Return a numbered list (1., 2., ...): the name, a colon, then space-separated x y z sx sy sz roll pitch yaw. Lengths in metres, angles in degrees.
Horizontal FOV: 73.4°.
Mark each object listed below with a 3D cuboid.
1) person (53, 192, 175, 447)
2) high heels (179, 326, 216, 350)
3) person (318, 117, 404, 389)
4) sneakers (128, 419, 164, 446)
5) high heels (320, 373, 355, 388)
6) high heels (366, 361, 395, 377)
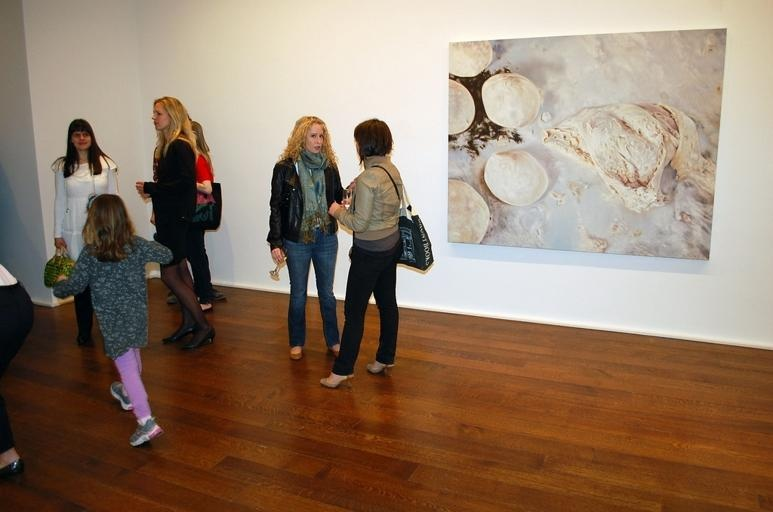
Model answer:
1. person: -1.915 0.453 3.682 0.612 1.706 0.535 0 15 -1
2. high heels: -1.852 0.796 4.955 0.138 0.192 0.416 -9 5 38
3. person: -0.171 0.019 4.133 0.687 2.120 0.364 -4 16 -17
4. sneakers: -1.706 1.257 3.700 0.289 0.161 0.124 -31 17 35
5. high heels: -0.401 1.017 4.284 0.247 0.120 0.122 1 5 -8
6. high heels: -0.053 0.969 4.497 0.252 0.118 0.095 7 5 6
